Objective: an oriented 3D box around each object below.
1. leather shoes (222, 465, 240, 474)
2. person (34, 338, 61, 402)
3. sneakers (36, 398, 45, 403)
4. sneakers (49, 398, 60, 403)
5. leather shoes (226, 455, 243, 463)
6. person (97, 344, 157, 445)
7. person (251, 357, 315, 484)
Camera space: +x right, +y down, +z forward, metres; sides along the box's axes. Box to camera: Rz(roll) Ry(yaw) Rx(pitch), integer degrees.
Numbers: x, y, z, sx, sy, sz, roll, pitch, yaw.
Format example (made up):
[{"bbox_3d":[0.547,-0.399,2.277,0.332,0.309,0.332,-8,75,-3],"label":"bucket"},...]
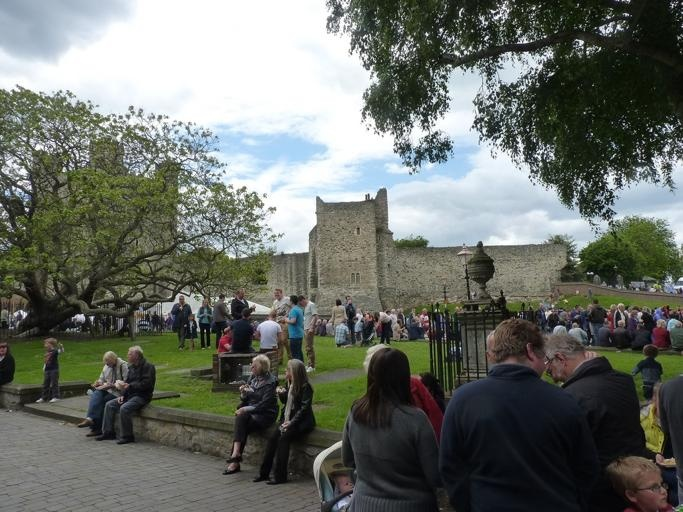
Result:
[{"bbox_3d":[-1.772,3.451,9.994,0.215,0.082,0.110,10,-16,-34],"label":"leather shoes"},{"bbox_3d":[-6.771,2.605,14.451,0.537,1.438,1.385,-4,3,-26],"label":"person"},{"bbox_3d":[-6.837,3.315,14.179,0.080,0.080,0.190,-2,-9,13],"label":"sneakers"},{"bbox_3d":[-6.505,3.308,14.127,0.187,0.074,0.069,1,-6,-6],"label":"sneakers"},{"bbox_3d":[-1.727,3.299,10.062,0.241,0.091,0.086,4,-12,-2],"label":"leather shoes"},{"bbox_3d":[-4.200,2.809,12.181,1.317,2.151,1.005,13,-25,-38],"label":"person"},{"bbox_3d":[-0.890,2.567,9.790,0.922,1.843,0.608,-3,3,-8],"label":"person"}]
